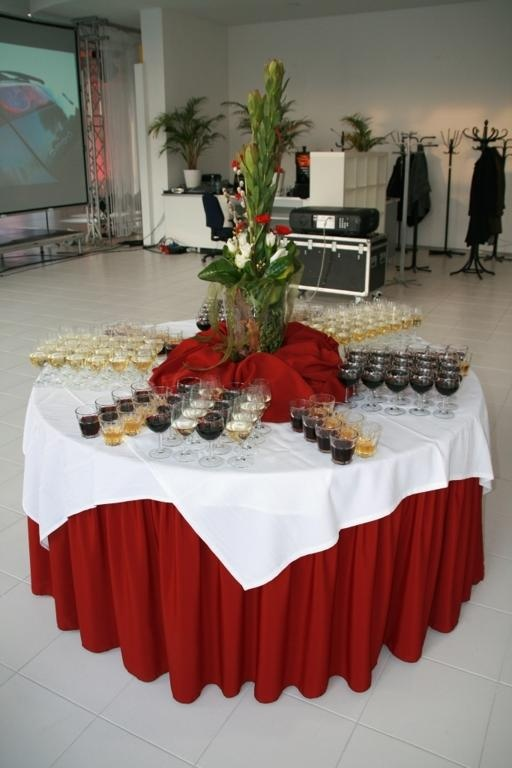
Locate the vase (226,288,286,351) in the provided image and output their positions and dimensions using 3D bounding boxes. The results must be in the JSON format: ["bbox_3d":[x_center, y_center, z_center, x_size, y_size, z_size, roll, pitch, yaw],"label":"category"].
[{"bbox_3d":[-0.008,-0.243,1.935,0.219,0.255,0.226,-3,25,-13],"label":"vase"}]

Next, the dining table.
[{"bbox_3d":[-0.106,0.412,1.972,1.320,0.499,1.386,22,12,25],"label":"dining table"}]

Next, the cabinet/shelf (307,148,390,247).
[{"bbox_3d":[1.087,-2.208,6.525,0.416,1.246,1.310,8,29,22],"label":"cabinet/shelf"}]

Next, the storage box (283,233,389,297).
[{"bbox_3d":[0.953,-1.441,6.509,1.029,0.711,0.686,15,28,32],"label":"storage box"}]

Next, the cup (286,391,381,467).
[{"bbox_3d":[0.208,0.102,1.453,0.136,0.075,0.198,-2,24,-20],"label":"cup"}]

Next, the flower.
[{"bbox_3d":[-0.028,-0.555,1.817,0.341,0.938,0.363,0,17,5],"label":"flower"}]
